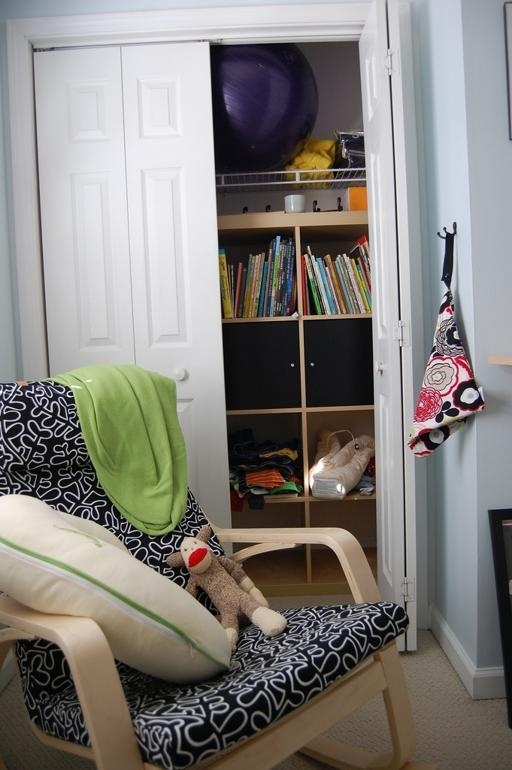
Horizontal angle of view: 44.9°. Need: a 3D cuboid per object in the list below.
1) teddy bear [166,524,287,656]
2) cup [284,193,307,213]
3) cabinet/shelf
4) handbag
[{"bbox_3d":[-0.055,0.444,1.361,0.156,0.097,0.254,-22,47,-28],"label":"teddy bear"},{"bbox_3d":[0.148,-0.697,2.371,0.072,0.065,0.081,2,9,5],"label":"cup"},{"bbox_3d":[0.099,0.304,2.440,0.433,1.011,0.274,-12,9,-23],"label":"cabinet/shelf"},{"bbox_3d":[0.490,-0.113,1.670,0.197,0.619,0.261,-5,8,13],"label":"handbag"}]
